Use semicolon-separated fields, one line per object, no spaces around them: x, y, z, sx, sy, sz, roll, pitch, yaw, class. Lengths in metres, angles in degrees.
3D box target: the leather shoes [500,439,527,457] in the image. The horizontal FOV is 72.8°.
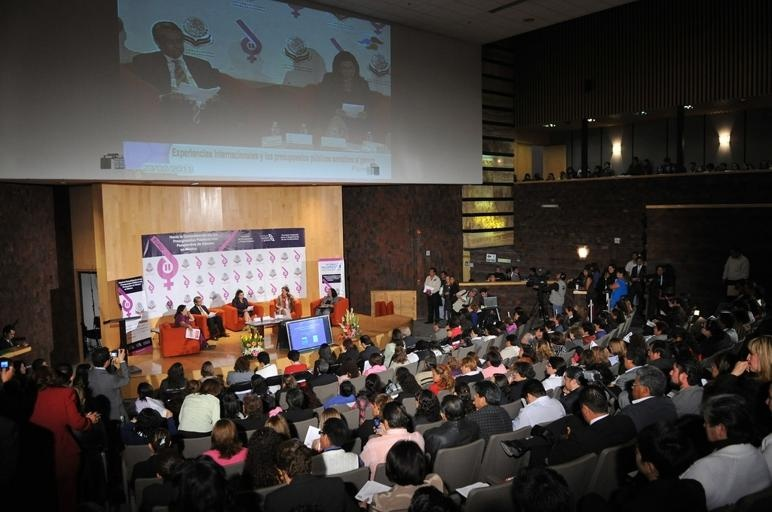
1.423;2.111;5.756;0.300;0.165;0.138;-5;4;-16;leather shoes
